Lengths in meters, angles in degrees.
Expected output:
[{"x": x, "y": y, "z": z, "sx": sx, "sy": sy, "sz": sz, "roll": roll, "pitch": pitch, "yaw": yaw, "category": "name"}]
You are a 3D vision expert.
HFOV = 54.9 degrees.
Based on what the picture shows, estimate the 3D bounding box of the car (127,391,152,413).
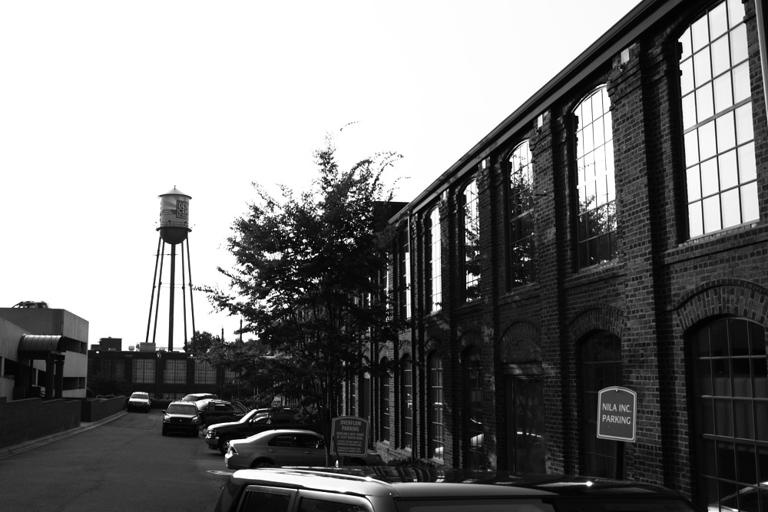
[{"x": -20.365, "y": 12.302, "z": 61.859, "sx": 1.306, "sy": 1.266, "sz": 2.972, "roll": 1, "pitch": -8, "yaw": -7, "category": "car"}]

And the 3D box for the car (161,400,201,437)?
[{"x": -10.738, "y": 8.548, "z": 39.015, "sx": 1.930, "sy": 1.907, "sz": 1.597, "roll": -8, "pitch": -19, "yaw": 25, "category": "car"}]

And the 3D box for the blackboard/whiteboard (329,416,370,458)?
[{"x": -0.779, "y": 4.148, "z": 16.851, "sx": 0.845, "sy": 0.977, "sz": 0.153, "roll": 4, "pitch": -38, "yaw": -5, "category": "blackboard/whiteboard"}]
